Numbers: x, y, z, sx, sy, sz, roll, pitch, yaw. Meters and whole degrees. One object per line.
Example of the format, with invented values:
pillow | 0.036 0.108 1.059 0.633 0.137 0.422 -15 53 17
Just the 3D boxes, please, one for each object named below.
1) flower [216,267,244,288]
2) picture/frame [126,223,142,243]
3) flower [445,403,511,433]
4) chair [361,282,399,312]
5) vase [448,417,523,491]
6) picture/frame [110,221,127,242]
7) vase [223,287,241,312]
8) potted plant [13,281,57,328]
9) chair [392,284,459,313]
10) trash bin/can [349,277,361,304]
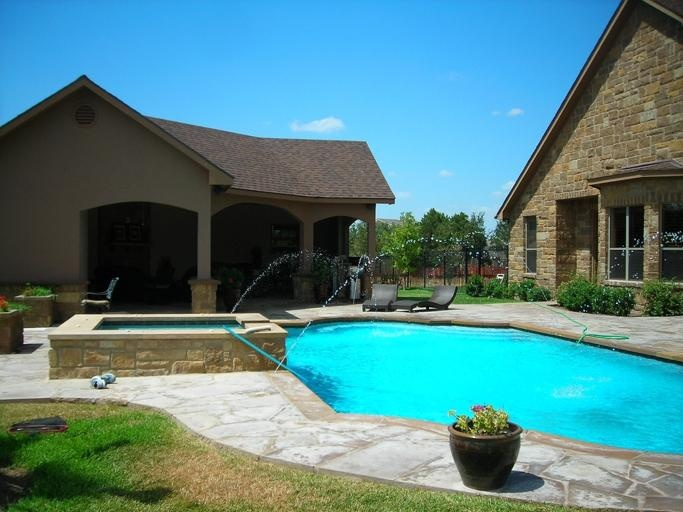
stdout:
flower | -3.940 0.769 17.166 1.157 1.123 0.610 1 0 -11
picture/frame | -9.073 -1.019 20.978 0.785 1.056 0.141 5 -11 -41
flower | 1.358 1.633 4.886 0.326 0.225 0.467 2 -7 -21
chair | 1.444 1.524 17.647 0.766 0.670 1.272 -1 -2 16
vase | 1.399 1.928 4.593 0.580 0.432 0.581 0 1 3
picture/frame | -9.590 -1.019 20.650 0.886 1.193 0.120 0 -2 -32
vase | -3.816 1.492 16.770 0.531 0.748 0.672 0 2 -14
potted plant | -8.578 1.151 13.536 1.126 1.501 1.495 0 1 -12
chair | 3.080 1.620 17.512 2.203 0.871 1.173 1 -4 -31
trash bin/can | 0.631 1.401 20.618 0.526 0.904 0.472 0 2 -14
